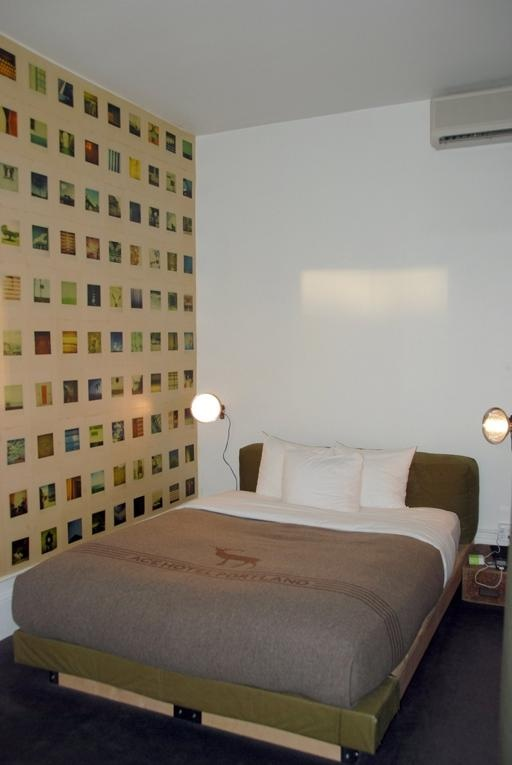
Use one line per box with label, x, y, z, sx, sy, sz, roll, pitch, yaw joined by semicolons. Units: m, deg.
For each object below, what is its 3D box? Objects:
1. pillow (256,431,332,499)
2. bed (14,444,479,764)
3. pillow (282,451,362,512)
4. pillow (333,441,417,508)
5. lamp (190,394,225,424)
pillow;0.237;0.519;3.490;0.122;0.358;0.332;19;-11;-41
bed;0.174;0.617;2.352;0.930;0.495;1.251;-1;-2;33
pillow;0.412;0.604;3.339;0.483;0.369;0.280;-2;-36;31
pillow;0.770;0.523;3.490;0.525;0.524;0.272;1;-46;20
lamp;-0.343;0.172;4.044;0.182;0.241;0.197;4;1;9
